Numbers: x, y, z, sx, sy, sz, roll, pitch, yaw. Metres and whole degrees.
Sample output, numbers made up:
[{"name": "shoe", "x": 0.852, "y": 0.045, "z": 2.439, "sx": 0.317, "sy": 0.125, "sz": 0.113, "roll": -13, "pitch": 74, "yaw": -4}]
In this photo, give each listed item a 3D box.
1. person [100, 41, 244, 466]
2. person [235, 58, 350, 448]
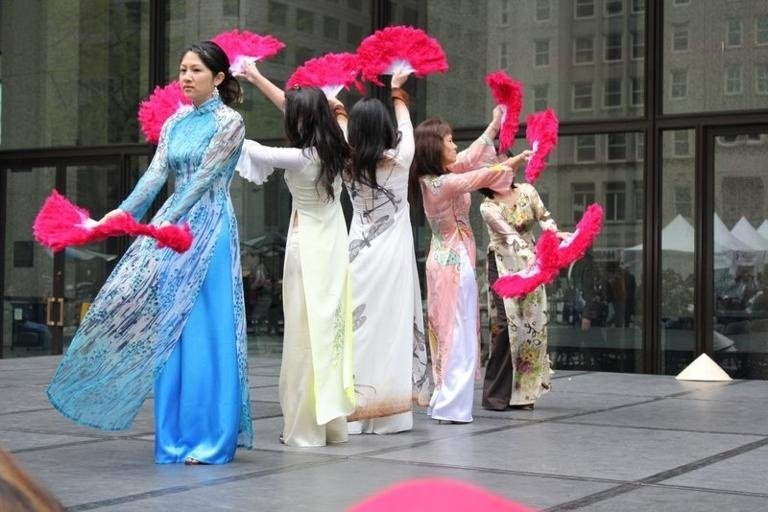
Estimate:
[{"name": "person", "x": -1.227, "y": -0.037, "z": 6.279, "sx": 0.759, "sy": 2.608, "sz": 0.492, "roll": -1, "pitch": 4, "yaw": -7}, {"name": "person", "x": -0.537, "y": 0.073, "z": 6.650, "sx": 0.661, "sy": 2.372, "sz": 0.341, "roll": 0, "pitch": 4, "yaw": -5}]
